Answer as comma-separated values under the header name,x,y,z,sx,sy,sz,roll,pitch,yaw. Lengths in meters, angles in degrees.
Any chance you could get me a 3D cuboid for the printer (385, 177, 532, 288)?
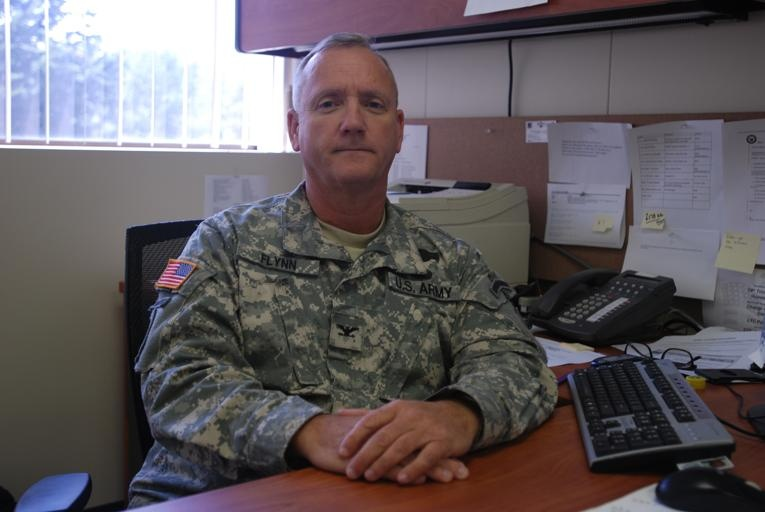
name,x,y,z,sx,sy,sz,roll,pitch,yaw
printer,0.263,-0.119,2.033,0.377,0.327,0.525,-4,8,-43
